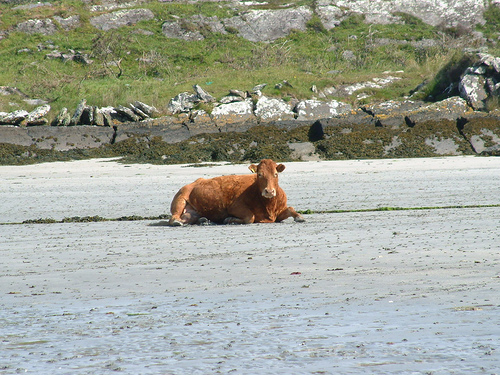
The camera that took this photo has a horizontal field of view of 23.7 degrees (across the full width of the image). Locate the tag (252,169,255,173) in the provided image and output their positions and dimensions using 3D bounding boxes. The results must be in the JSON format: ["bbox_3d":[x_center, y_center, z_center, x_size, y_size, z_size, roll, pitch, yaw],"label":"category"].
[{"bbox_3d":[0.234,-1.245,85.314,0.046,0.195,0.201,-46,6,18],"label":"tag"}]

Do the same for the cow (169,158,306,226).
[{"bbox_3d":[-1.170,0.409,84.598,7.891,4.332,1.598,-4,15,-1],"label":"cow"}]
